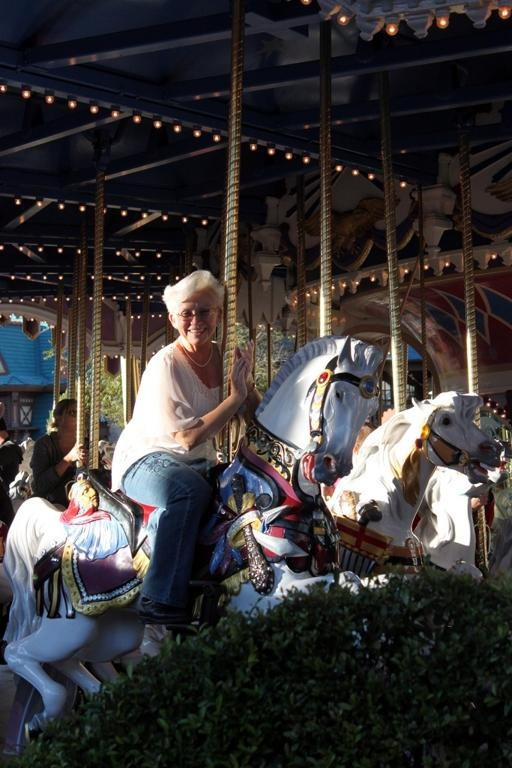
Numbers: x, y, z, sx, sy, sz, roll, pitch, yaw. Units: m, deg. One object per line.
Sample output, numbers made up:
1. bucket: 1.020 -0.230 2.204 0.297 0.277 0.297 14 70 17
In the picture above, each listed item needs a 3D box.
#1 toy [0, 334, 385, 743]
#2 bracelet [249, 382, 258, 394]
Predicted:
1. toy: -0.304 0.668 2.475 1.566 1.680 0.435 0 -4 34
2. bracelet: -0.012 0.013 2.567 0.014 0.027 0.049 -24 -42 -5
